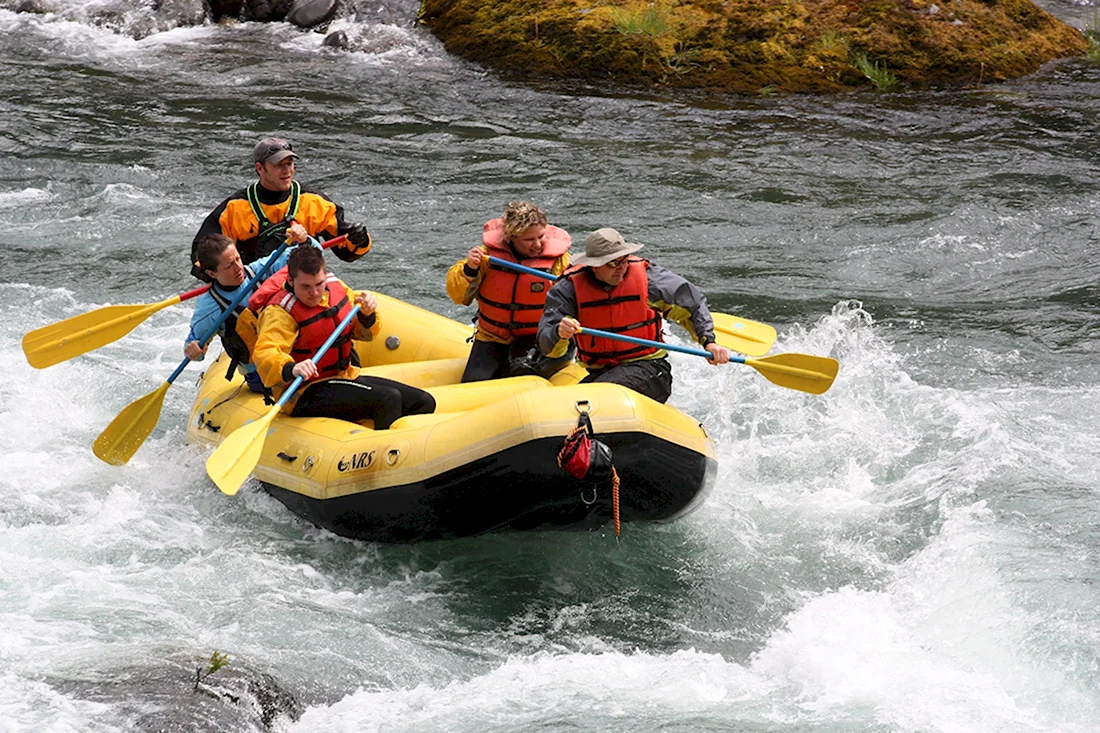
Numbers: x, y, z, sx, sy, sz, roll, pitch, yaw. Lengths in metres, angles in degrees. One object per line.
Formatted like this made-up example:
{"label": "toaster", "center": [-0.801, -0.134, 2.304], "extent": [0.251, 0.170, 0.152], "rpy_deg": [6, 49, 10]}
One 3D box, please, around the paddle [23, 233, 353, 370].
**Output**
{"label": "paddle", "center": [-2.731, -0.626, 9.313], "extent": [3.059, 0.343, 0.113], "rpy_deg": [-23, 65, -26]}

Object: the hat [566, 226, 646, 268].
{"label": "hat", "center": [0.369, -0.830, 8.260], "extent": [0.558, 0.125, 0.395], "rpy_deg": [-11, 9, 6]}
